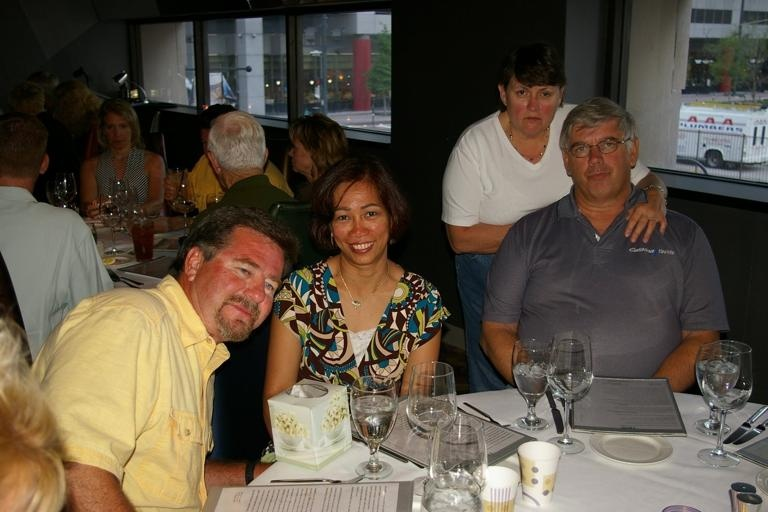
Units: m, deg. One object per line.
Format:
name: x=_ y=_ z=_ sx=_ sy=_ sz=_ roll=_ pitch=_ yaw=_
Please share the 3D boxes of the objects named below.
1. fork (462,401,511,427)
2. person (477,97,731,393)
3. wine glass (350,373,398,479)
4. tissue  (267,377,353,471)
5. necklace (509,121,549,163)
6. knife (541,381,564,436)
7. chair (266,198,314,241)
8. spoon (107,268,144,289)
fork: x=0.360 y=0.553 z=2.148 sx=0.033 sy=0.032 sz=0.213 roll=-2 pitch=24 yaw=-47
person: x=0.973 y=-0.088 z=2.784 sx=1.047 sy=1.213 sz=0.433 roll=-1 pitch=12 yaw=3
wine glass: x=-0.030 y=0.531 z=2.024 sx=0.146 sy=0.281 sz=0.280 roll=-3 pitch=12 yaw=-5
tissue : x=-0.226 y=0.526 z=1.989 sx=0.233 sy=0.240 sz=0.246 roll=-7 pitch=-6 yaw=-5
necklace: x=0.762 y=-0.598 z=3.231 sx=0.170 sy=0.235 sz=0.129 roll=-2 pitch=9 yaw=1
knife: x=0.617 y=0.557 z=2.224 sx=0.032 sy=0.013 sz=0.145 roll=-16 pitch=31 yaw=4
chair: x=-0.435 y=-0.193 z=3.025 sx=0.188 sy=0.272 sz=0.212 roll=-1 pitch=35 yaw=-7
spoon: x=-1.379 y=0.124 z=3.307 sx=0.213 sy=0.071 sz=0.205 roll=-6 pitch=26 yaw=-30
